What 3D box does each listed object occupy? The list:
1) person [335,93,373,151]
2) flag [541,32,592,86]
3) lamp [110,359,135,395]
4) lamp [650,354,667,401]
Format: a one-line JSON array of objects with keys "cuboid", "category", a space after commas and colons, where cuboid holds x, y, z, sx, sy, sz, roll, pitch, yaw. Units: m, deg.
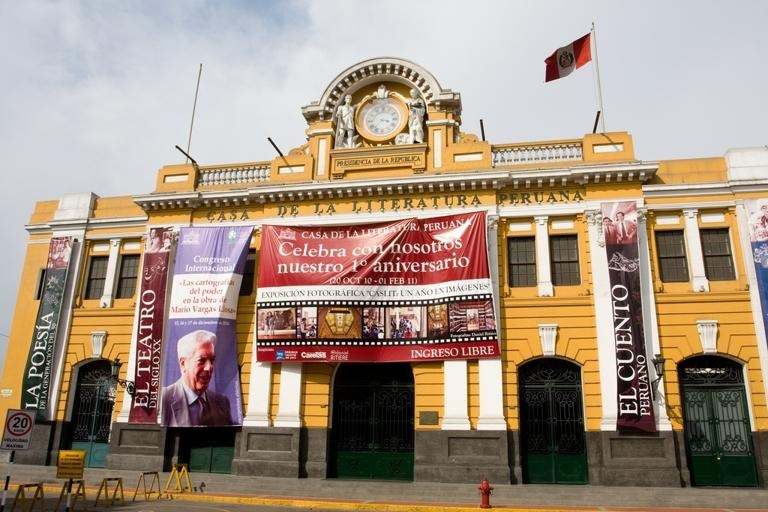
[{"cuboid": [-1.832, -6.824, 32.931, 1.230, 2.896, 0.554, 1, -6, -5], "category": "person"}, {"cuboid": [8.707, -9.364, 30.721, 1.993, 2.304, 1.429, -1, -6, 15], "category": "flag"}, {"cuboid": [-12.737, 5.824, 31.235, 1.187, 1.667, 1.975, 5, -8, -40], "category": "lamp"}, {"cuboid": [11.758, 5.159, 27.873, 0.569, 1.915, 1.132, -2, -7, 23], "category": "lamp"}]
